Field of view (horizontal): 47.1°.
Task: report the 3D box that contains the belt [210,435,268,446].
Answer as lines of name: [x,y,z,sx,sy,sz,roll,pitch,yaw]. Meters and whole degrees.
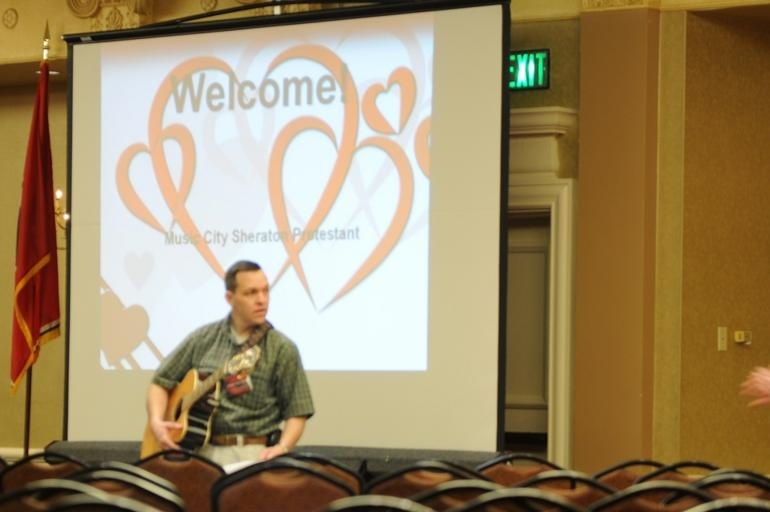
belt: [-1.260,1.567,7.544,0.483,0.085,0.033,1,0,-5]

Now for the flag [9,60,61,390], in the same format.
flag: [-3.280,-0.312,8.269,0.403,3.162,0.220,1,0,-29]

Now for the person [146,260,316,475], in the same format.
person: [-1.256,0.977,7.478,1.190,2.673,0.810,1,-18,4]

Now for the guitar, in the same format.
guitar: [-1.602,1.261,7.631,0.166,0.715,1.264,16,-43,-37]
